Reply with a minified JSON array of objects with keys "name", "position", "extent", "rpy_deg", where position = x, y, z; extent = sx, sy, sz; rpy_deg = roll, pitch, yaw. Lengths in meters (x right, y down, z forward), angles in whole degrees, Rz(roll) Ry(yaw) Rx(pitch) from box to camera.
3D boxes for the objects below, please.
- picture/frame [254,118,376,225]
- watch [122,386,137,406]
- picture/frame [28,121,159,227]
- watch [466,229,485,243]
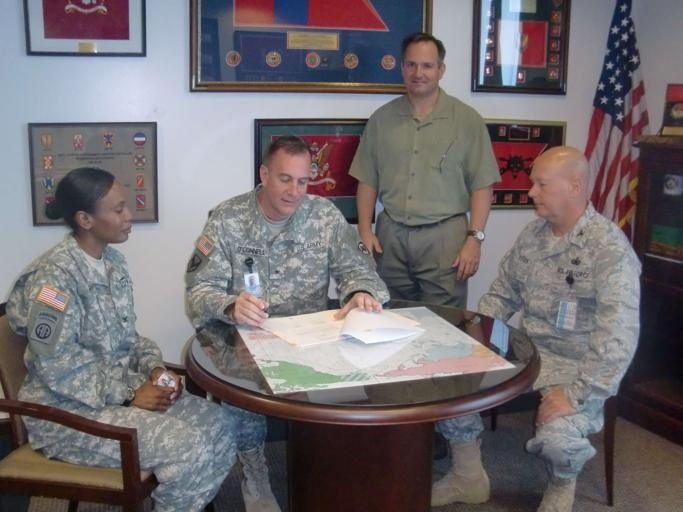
[{"name":"picture/frame","position":[-0.153,-0.498,3.084],"extent":[0.719,0.748,0.053],"rpy_deg":[0,9,-7]},{"name":"watch","position":[-0.831,0.556,2.235],"extent":[0.045,0.063,0.061],"rpy_deg":[18,16,-37]},{"name":"picture/frame","position":[-1.339,-0.468,2.949],"extent":[0.662,0.572,0.025],"rpy_deg":[-1,6,-9]},{"name":"watch","position":[0.753,-0.123,3.192],"extent":[0.092,0.057,0.085],"rpy_deg":[21,-13,-35]}]
